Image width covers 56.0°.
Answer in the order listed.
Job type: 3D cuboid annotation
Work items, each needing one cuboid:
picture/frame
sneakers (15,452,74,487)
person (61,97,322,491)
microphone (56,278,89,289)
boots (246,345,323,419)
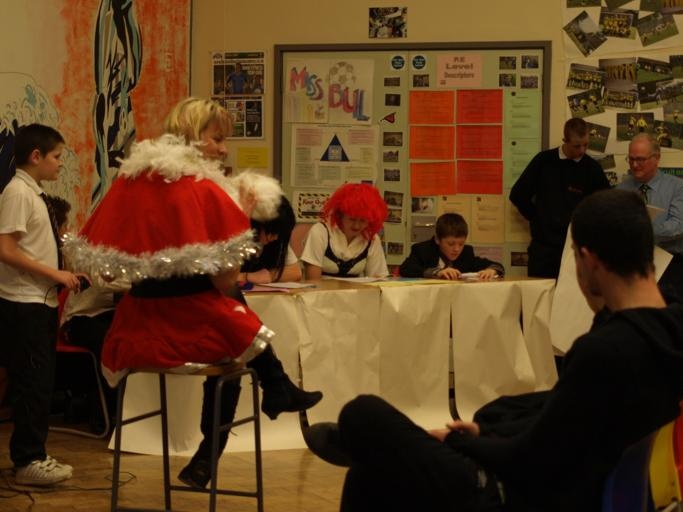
[{"bbox_3d":[0.636,-0.785,4.909,1.566,1.869,0.068,1,2,-1],"label":"picture/frame"},{"bbox_3d":[-1.378,0.996,2.966,0.196,0.114,0.130,-4,2,-4],"label":"sneakers"},{"bbox_3d":[-0.555,0.198,2.325,0.822,1.536,0.484,-1,7,-26],"label":"person"},{"bbox_3d":[-1.288,0.129,3.066,0.165,0.058,0.064,-7,-2,2],"label":"microphone"},{"bbox_3d":[-0.221,0.443,2.499,0.233,0.390,0.111,-15,23,-1],"label":"boots"}]
